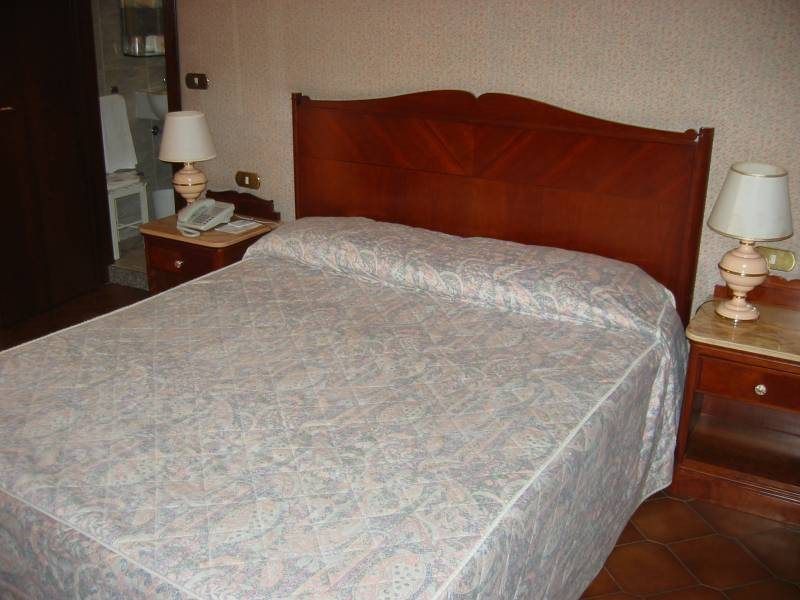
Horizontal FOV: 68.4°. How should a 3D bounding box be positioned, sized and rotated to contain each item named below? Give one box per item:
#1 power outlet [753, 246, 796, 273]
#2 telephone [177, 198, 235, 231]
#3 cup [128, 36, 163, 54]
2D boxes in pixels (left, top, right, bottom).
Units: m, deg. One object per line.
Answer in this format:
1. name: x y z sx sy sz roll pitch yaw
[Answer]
1. power outlet: 1.875 -0.205 2.936 0.140 0.096 0.015 16 36 40
2. telephone: -1.345 -0.605 4.137 0.282 0.106 0.288 7 31 27
3. cup: -2.096 -2.099 4.850 0.177 0.109 0.176 2 25 -1
